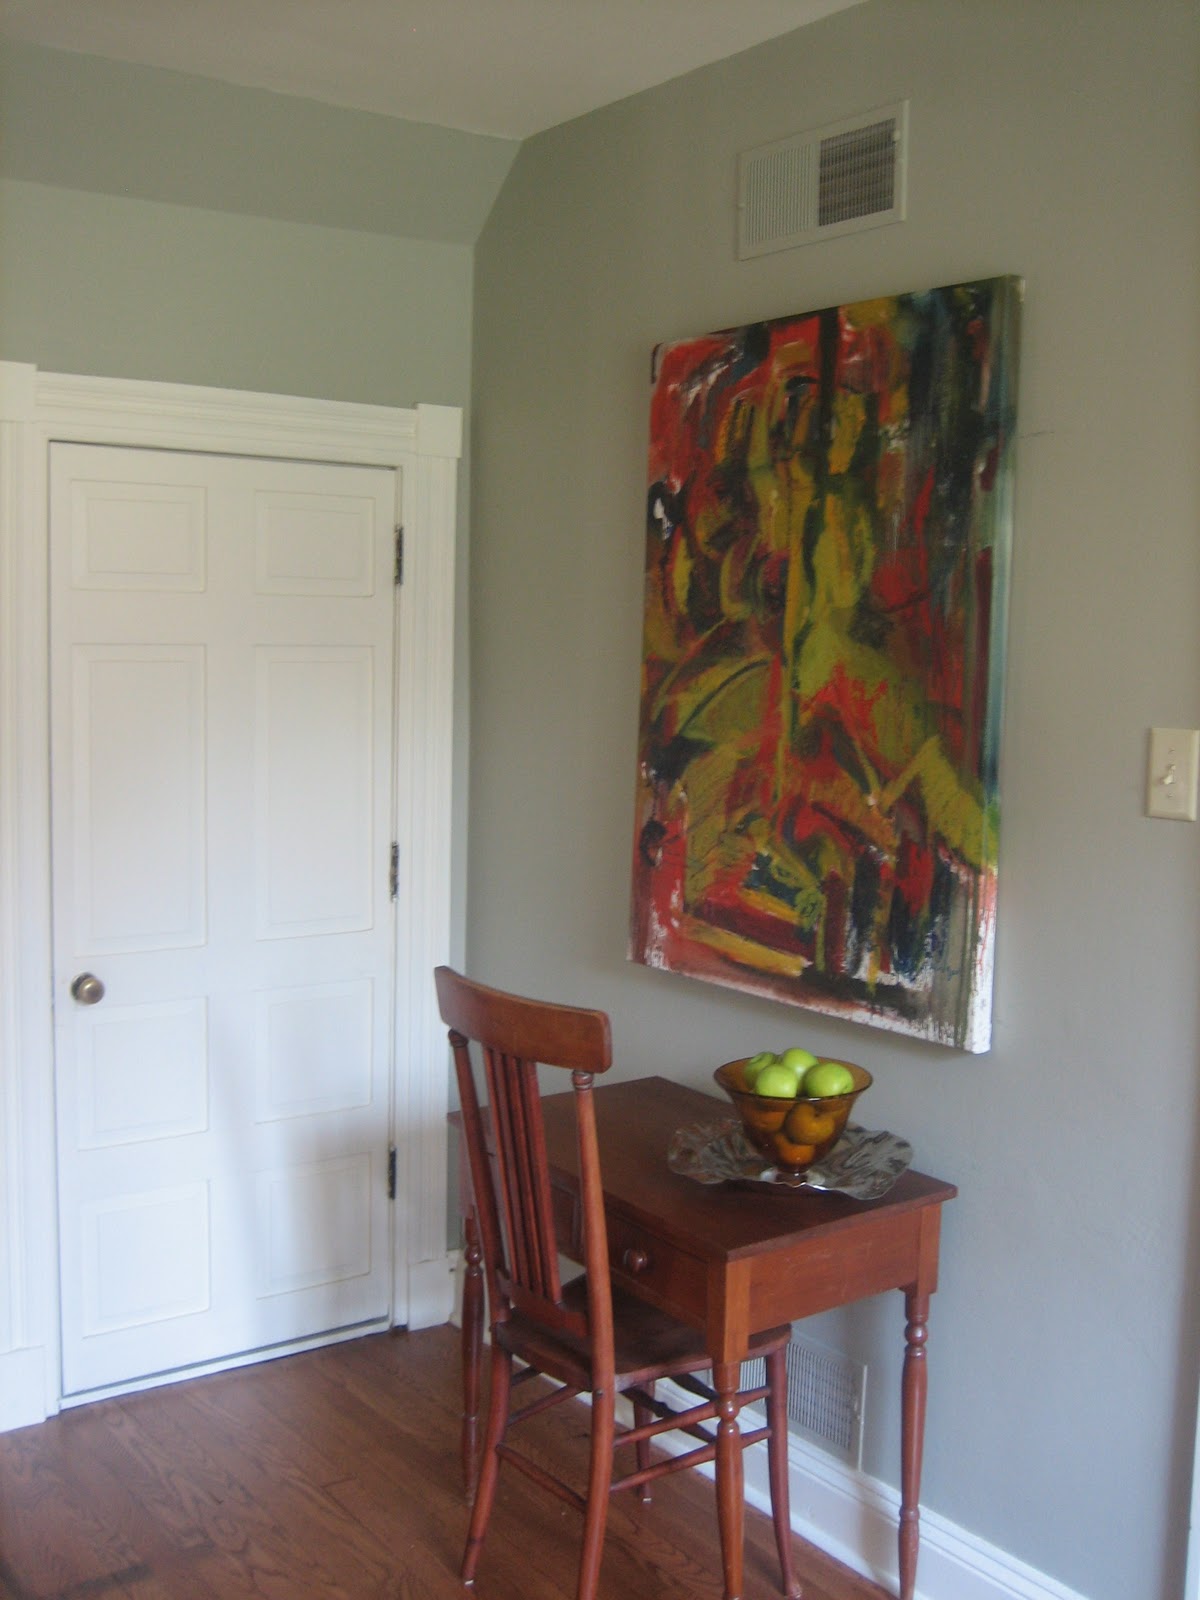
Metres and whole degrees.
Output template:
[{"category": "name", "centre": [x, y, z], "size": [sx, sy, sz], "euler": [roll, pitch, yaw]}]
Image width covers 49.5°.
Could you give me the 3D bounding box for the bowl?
[{"category": "bowl", "centre": [0.260, 0.430, 1.724], "size": [0.185, 0.172, 0.207], "euler": [-3, 4, -30]}]

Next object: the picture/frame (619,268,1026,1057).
[{"category": "picture/frame", "centre": [0.323, -0.220, 1.986], "size": [0.066, 1.113, 0.741], "euler": [0, 0, -36]}]

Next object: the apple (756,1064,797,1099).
[{"category": "apple", "centre": [0.224, 0.363, 1.655], "size": [0.035, 0.037, 0.035], "euler": [-13, 19, -42]}]

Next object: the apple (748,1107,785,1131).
[{"category": "apple", "centre": [0.214, 0.408, 1.659], "size": [0.035, 0.038, 0.037], "euler": [-11, 6, 22]}]

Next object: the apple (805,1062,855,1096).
[{"category": "apple", "centre": [0.293, 0.361, 1.660], "size": [0.039, 0.041, 0.042], "euler": [6, -26, 21]}]

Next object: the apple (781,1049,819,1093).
[{"category": "apple", "centre": [0.264, 0.357, 1.706], "size": [0.038, 0.040, 0.041], "euler": [-1, 47, 4]}]
